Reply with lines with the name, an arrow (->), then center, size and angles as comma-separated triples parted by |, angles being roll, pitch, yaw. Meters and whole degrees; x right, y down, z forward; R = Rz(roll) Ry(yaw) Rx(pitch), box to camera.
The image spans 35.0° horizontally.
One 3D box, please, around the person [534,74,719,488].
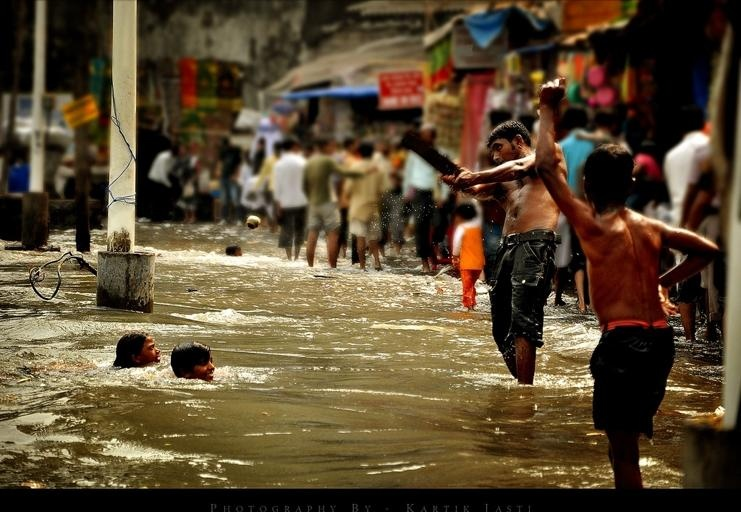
person -> 1.322, 0.237, 6.491 | 0.883, 1.935, 0.649 | 14, 16, 39
